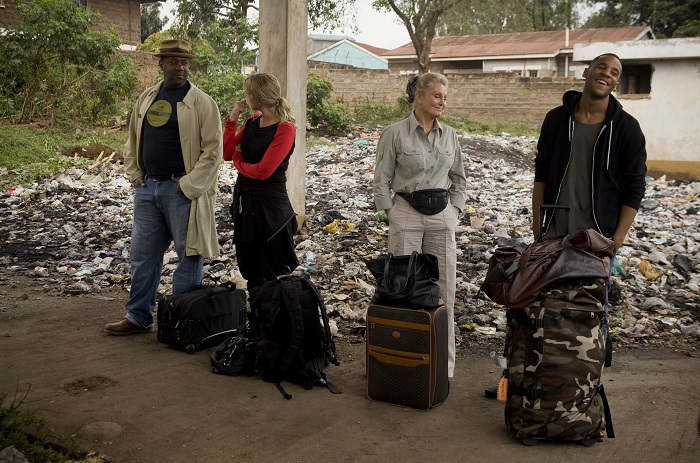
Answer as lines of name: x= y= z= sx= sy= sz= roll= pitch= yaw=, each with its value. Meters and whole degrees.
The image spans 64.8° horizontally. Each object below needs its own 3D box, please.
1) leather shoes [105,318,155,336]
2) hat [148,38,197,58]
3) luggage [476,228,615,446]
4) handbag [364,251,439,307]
leather shoes: x=-2.477 y=1.088 z=6.263 sx=0.490 sy=0.204 sz=0.199 roll=7 pitch=6 yaw=-13
hat: x=-1.809 y=-1.918 z=5.777 sx=0.424 sy=0.224 sz=0.311 roll=-2 pitch=11 yaw=-3
luggage: x=1.690 y=0.864 z=4.647 sx=0.972 sy=1.729 sz=0.604 roll=0 pitch=12 yaw=10
handbag: x=0.483 y=0.445 z=5.034 sx=0.828 sy=0.556 sz=0.456 roll=-1 pitch=-2 yaw=21
